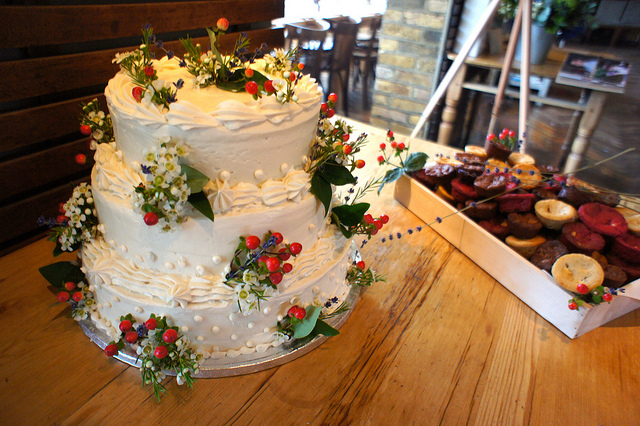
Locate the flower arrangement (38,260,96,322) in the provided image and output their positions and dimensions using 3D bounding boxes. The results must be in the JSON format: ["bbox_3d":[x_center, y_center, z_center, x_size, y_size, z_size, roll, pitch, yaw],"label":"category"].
[{"bbox_3d":[-1.262,0.373,2.267,0.260,0.314,0.296,-6,21,-16],"label":"flower arrangement"}]

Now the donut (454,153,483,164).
[{"bbox_3d":[1.029,-0.383,2.910,0.116,0.030,0.108,-13,33,-41],"label":"donut"}]

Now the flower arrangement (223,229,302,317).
[{"bbox_3d":[-0.273,0.301,2.056,0.376,0.421,0.193,-9,36,-18],"label":"flower arrangement"}]

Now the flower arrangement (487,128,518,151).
[{"bbox_3d":[1.319,-0.548,3.045,0.205,0.108,0.353,18,37,20],"label":"flower arrangement"}]

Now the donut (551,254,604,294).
[{"bbox_3d":[1.412,0.330,2.322,0.222,0.129,0.172,0,34,-5],"label":"donut"}]

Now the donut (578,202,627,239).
[{"bbox_3d":[1.647,0.049,2.506,0.229,0.058,0.224,-18,49,-17],"label":"donut"}]

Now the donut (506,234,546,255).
[{"bbox_3d":[1.234,0.164,2.551,0.132,0.044,0.131,-2,18,-33],"label":"donut"}]

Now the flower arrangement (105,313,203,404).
[{"bbox_3d":[-0.809,0.679,2.059,0.447,0.391,0.238,15,36,16],"label":"flower arrangement"}]
